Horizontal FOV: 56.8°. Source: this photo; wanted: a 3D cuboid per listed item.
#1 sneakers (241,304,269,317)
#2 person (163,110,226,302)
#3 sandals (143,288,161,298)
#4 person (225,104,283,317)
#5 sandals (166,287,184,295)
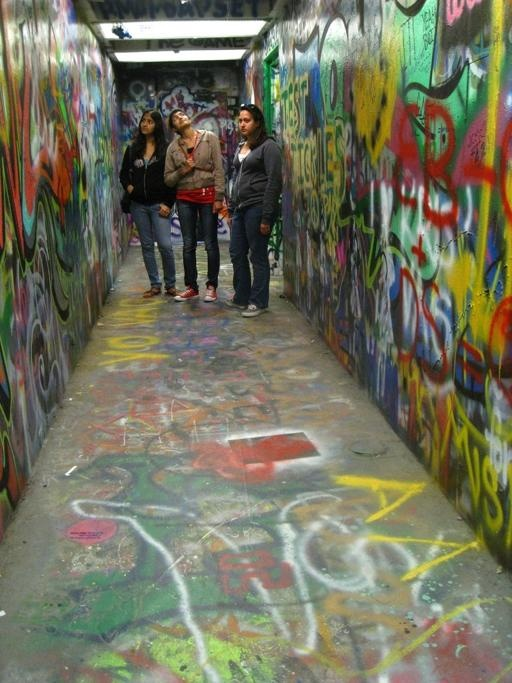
[{"bbox_3d":[-0.019,-0.373,5.694,0.122,0.146,0.348,3,4,38],"label":"sneakers"},{"bbox_3d":[-0.774,-1.650,6.013,0.755,2.302,0.611,-1,5,-2],"label":"person"},{"bbox_3d":[-1.445,-0.673,6.672,0.116,0.114,0.246,-2,-2,22],"label":"sandals"},{"bbox_3d":[-0.016,-1.464,5.567,0.523,2.352,0.790,-1,5,-10],"label":"person"},{"bbox_3d":[-1.159,-0.675,6.613,0.248,0.106,0.109,2,-20,17],"label":"sandals"}]
